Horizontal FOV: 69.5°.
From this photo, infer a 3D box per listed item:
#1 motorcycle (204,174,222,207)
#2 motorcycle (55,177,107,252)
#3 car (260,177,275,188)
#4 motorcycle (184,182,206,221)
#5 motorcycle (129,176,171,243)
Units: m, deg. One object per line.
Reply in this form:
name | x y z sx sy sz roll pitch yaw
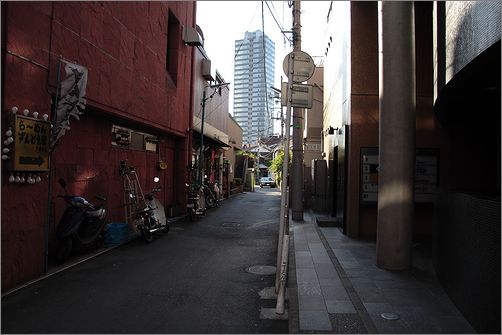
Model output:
motorcycle | -2.177 1.305 20.026 0.874 1.659 0.792 5 -3 -12
motorcycle | -4.513 1.222 9.635 0.917 2.082 1.525 4 8 40
car | 2.626 2.226 53.692 2.207 1.021 4.172 -1 7 4
motorcycle | -2.374 1.543 15.518 0.586 1.263 1.689 -1 6 0
motorcycle | -3.261 1.533 11.658 0.751 1.606 1.738 -1 6 3
